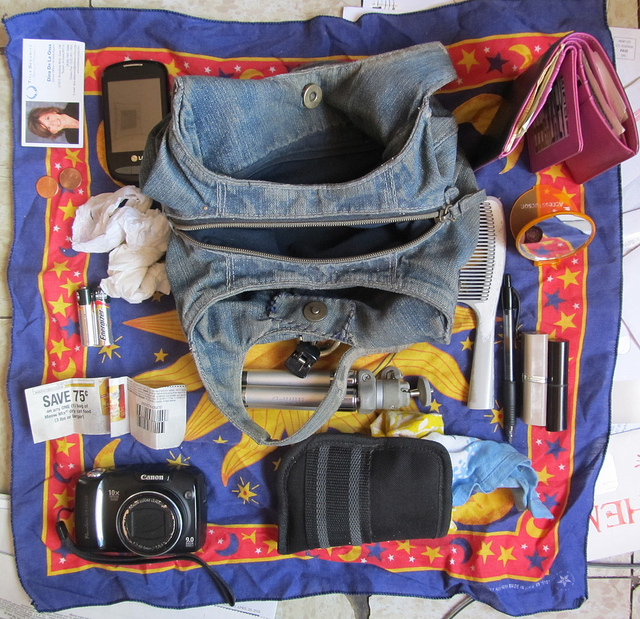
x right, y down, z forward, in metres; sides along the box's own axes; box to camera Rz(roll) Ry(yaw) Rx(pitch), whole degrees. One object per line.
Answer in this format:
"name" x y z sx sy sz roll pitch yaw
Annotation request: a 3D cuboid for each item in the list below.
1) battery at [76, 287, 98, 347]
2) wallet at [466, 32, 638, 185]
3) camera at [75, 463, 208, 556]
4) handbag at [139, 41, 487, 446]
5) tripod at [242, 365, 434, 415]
"battery" -0.473 0.019 1.508 0.032 0.120 0.041 -5 17 -16
"wallet" 0.439 -0.371 1.389 0.307 0.280 0.155 3 17 10
"camera" -0.362 0.408 1.519 0.243 0.150 0.079 0 -4 6
"handbag" 0.001 -0.118 1.353 0.587 0.714 0.254 2 16 5
"tripod" 0.021 0.174 1.477 0.405 0.088 0.095 -1 27 5
